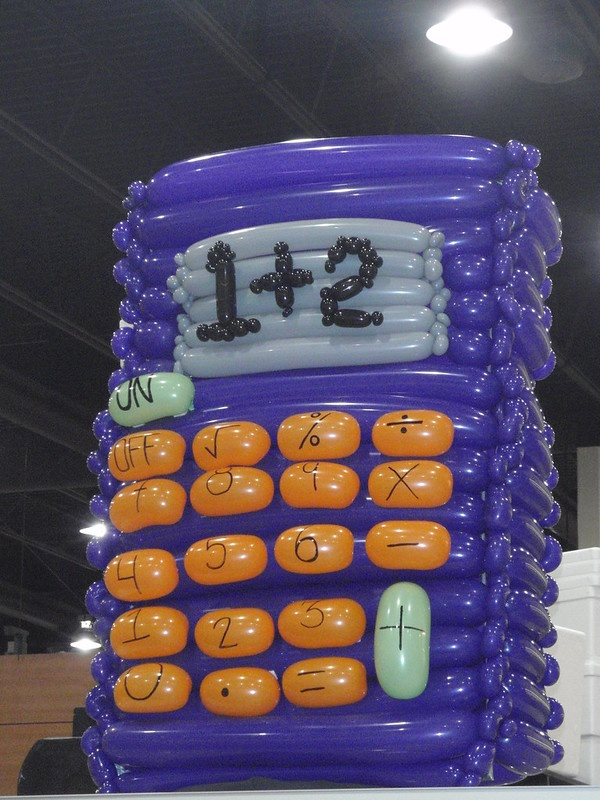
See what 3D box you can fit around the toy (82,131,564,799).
[{"bbox_3d":[0.057,0.145,3.637,1.502,2.002,0.519,-7,-17,15],"label":"toy"}]
